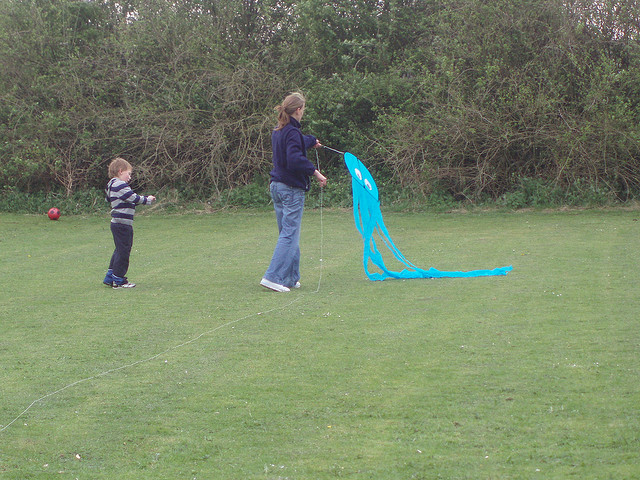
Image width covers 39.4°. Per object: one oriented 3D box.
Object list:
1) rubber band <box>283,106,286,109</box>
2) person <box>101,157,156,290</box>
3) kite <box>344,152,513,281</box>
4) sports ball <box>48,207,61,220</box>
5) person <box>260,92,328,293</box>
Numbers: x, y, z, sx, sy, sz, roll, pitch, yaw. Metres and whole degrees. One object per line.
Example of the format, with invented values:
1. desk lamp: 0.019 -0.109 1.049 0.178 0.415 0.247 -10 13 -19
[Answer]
1. rubber band: -0.441 -1.686 11.438 0.032 0.033 0.011 -3 3 -2
2. person: -2.598 -0.222 11.800 0.680 1.703 0.752 -4 4 -14
3. kite: 1.508 -0.260 11.942 2.283 1.622 0.507 -2 11 -4
4. sports ball: -5.407 -0.512 18.009 0.230 0.240 0.234 13 13 -3
5. person: -0.383 -0.617 11.534 0.832 2.546 0.518 -3 3 0
